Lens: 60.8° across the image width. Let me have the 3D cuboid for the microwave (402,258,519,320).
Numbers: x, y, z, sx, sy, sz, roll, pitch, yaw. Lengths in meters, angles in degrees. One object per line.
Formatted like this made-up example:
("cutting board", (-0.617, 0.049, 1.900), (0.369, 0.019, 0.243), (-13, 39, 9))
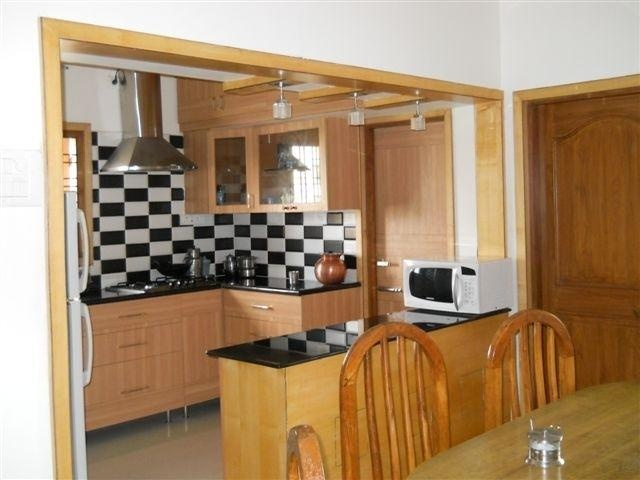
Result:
("microwave", (0.931, 0.262, 3.532), (0.480, 0.250, 0.434), (0, 0, 44))

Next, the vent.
("vent", (-1.479, -0.994, 4.576), (0.934, 0.805, 0.860), (-3, 10, -7))

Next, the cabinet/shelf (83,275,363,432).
("cabinet/shelf", (-0.873, 0.906, 4.519), (1.982, 1.038, 0.640), (-5, 4, -13))

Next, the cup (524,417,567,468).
("cup", (0.647, 0.595, 1.619), (0.107, 0.115, 0.130), (-1, -2, 44))
